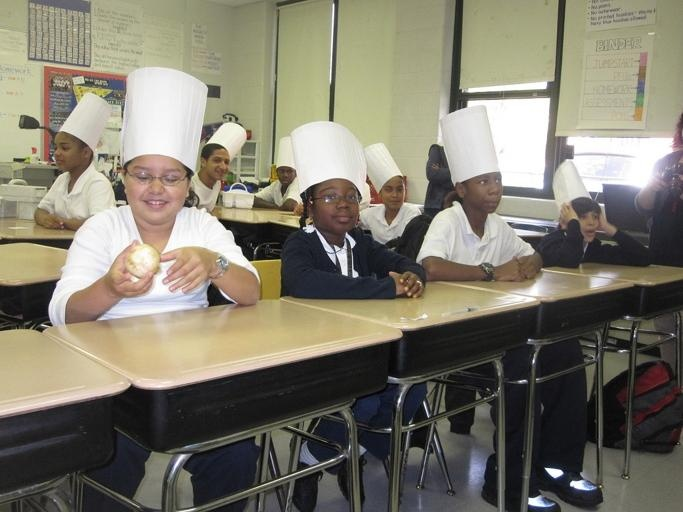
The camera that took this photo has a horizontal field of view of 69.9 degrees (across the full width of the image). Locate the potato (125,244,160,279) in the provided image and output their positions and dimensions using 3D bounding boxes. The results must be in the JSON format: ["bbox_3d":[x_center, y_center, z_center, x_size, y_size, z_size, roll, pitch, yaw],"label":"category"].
[{"bbox_3d":[-0.471,0.009,1.157,0.079,0.066,0.043,35,-24,-7],"label":"potato"}]

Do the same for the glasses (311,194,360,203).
[{"bbox_3d":[-0.017,-0.221,1.842,0.185,0.032,0.102,-2,12,-9],"label":"glasses"}]

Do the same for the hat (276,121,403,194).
[{"bbox_3d":[-0.040,-0.388,1.910,0.307,0.277,0.215,-2,12,-8],"label":"hat"}]

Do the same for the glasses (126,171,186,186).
[{"bbox_3d":[-0.532,-0.222,1.407,0.155,0.041,0.059,-3,12,-17],"label":"glasses"}]

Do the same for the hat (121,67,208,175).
[{"bbox_3d":[-0.544,-0.422,1.572,0.268,0.267,0.304,3,12,-36],"label":"hat"}]
